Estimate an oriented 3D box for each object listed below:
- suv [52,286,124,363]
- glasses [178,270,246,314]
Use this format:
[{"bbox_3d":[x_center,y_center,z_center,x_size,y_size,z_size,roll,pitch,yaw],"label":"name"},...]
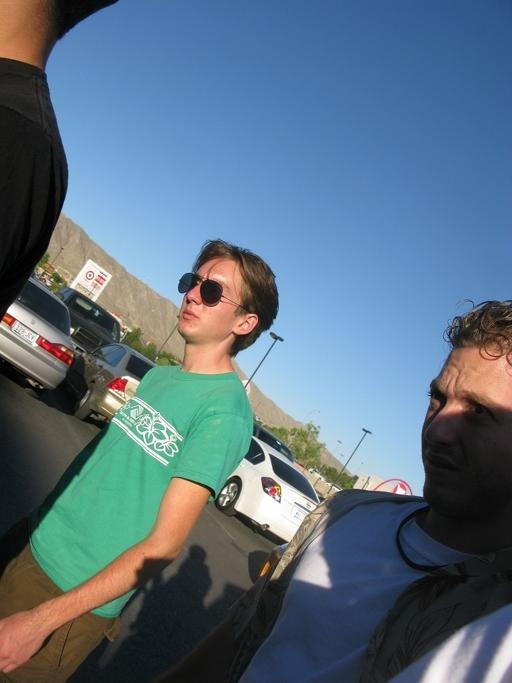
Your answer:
[{"bbox_3d":[-5.882,-0.756,16.769,1.970,1.542,3.747,30,0,-34],"label":"suv"},{"bbox_3d":[-0.153,-0.194,1.912,0.239,0.087,0.284,14,-12,33],"label":"glasses"}]
